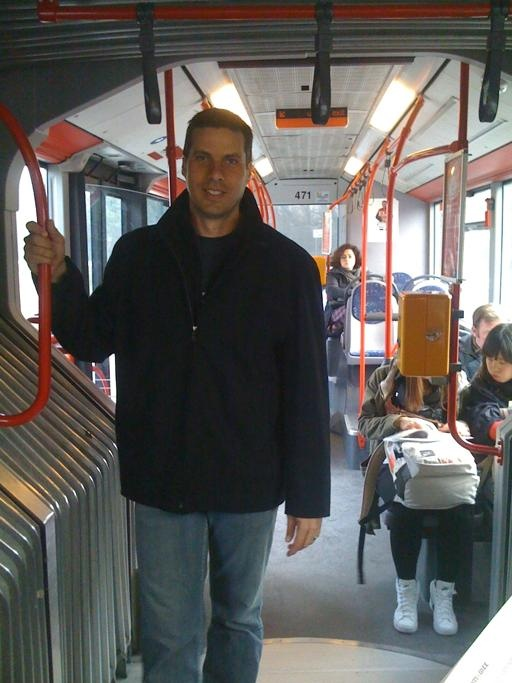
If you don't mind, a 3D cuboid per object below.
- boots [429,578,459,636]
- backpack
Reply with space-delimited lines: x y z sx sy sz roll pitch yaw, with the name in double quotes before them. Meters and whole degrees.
"boots" 0.897 1.247 2.925 0.106 0.178 0.323 4 6 9
"backpack" 0.754 0.648 2.858 0.449 0.448 0.520 -1 -2 0
